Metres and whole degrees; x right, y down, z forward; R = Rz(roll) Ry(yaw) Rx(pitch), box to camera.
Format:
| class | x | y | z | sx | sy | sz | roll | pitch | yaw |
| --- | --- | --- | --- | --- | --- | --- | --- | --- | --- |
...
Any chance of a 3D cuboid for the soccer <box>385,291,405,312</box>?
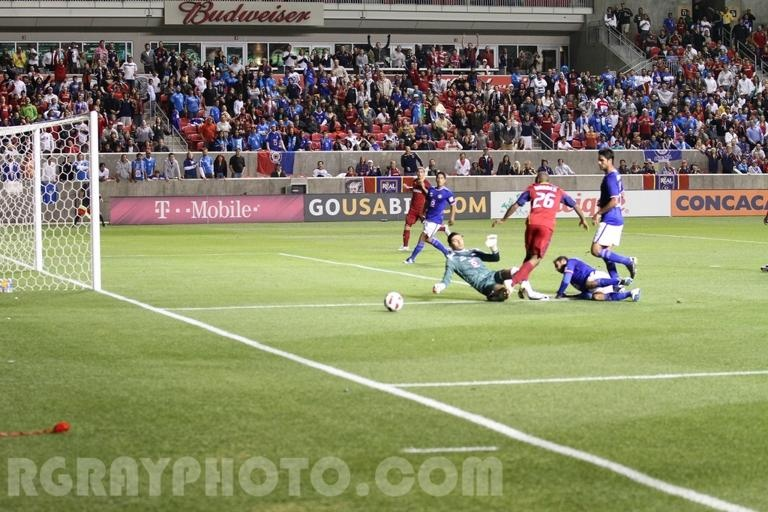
| class | x | y | z | sx | sy | sz | roll | pitch | yaw |
| --- | --- | --- | --- | --- | --- | --- | --- | --- | --- |
| soccer | 0.153 | 0.756 | 18.610 | 0.312 | 0.314 | 0.283 | 14 | -23 | -41 |

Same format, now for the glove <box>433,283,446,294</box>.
| class | x | y | z | sx | sy | sz | roll | pitch | yaw |
| --- | --- | --- | --- | --- | --- | --- | --- | --- | --- |
| glove | 0.991 | 0.566 | 19.795 | 0.126 | 0.159 | 0.150 | 31 | -14 | -4 |

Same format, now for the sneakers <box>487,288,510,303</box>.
| class | x | y | z | sx | sy | sz | roll | pitch | yaw |
| --- | --- | --- | --- | --- | --- | --- | --- | --- | --- |
| sneakers | 2.025 | 0.687 | 19.550 | 0.314 | 0.112 | 0.235 | -20 | 9 | -21 |

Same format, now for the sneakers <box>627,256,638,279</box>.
| class | x | y | z | sx | sy | sz | roll | pitch | yaw |
| --- | --- | --- | --- | --- | --- | --- | --- | --- | --- |
| sneakers | 4.868 | 0.229 | 21.713 | 0.207 | 0.403 | 0.151 | -9 | 13 | 0 |

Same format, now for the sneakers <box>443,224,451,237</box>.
| class | x | y | z | sx | sy | sz | roll | pitch | yaw |
| --- | --- | --- | --- | --- | --- | --- | --- | --- | --- |
| sneakers | 1.350 | -0.585 | 23.938 | 0.180 | 0.237 | 0.554 | -7 | -3 | 3 |

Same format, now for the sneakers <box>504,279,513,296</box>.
| class | x | y | z | sx | sy | sz | roll | pitch | yaw |
| --- | --- | --- | --- | --- | --- | --- | --- | --- | --- |
| sneakers | 2.214 | 0.542 | 19.376 | 0.100 | 0.259 | 0.188 | 4 | 2 | -17 |

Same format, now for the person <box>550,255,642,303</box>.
| class | x | y | z | sx | sy | sz | roll | pitch | yaw |
| --- | --- | --- | --- | --- | --- | --- | --- | --- | --- |
| person | 3.761 | 0.451 | 19.808 | 1.340 | 0.681 | 0.793 | 5 | -28 | 19 |

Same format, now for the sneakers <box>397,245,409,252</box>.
| class | x | y | z | sx | sy | sz | roll | pitch | yaw |
| --- | --- | --- | --- | --- | --- | --- | --- | --- | --- |
| sneakers | 0.496 | -0.213 | 28.858 | 0.312 | 0.128 | 0.103 | 0 | 3 | -5 |

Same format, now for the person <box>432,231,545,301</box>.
| class | x | y | z | sx | sy | sz | roll | pitch | yaw |
| --- | --- | --- | --- | --- | --- | --- | --- | --- | --- |
| person | 1.639 | 0.203 | 19.810 | 1.645 | 0.784 | 1.291 | 24 | 28 | 38 |

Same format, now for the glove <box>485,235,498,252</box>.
| class | x | y | z | sx | sy | sz | roll | pitch | yaw |
| --- | --- | --- | --- | --- | --- | --- | --- | --- | --- |
| glove | 1.861 | -0.249 | 19.225 | 0.233 | 0.145 | 0.346 | 0 | 5 | 7 |
